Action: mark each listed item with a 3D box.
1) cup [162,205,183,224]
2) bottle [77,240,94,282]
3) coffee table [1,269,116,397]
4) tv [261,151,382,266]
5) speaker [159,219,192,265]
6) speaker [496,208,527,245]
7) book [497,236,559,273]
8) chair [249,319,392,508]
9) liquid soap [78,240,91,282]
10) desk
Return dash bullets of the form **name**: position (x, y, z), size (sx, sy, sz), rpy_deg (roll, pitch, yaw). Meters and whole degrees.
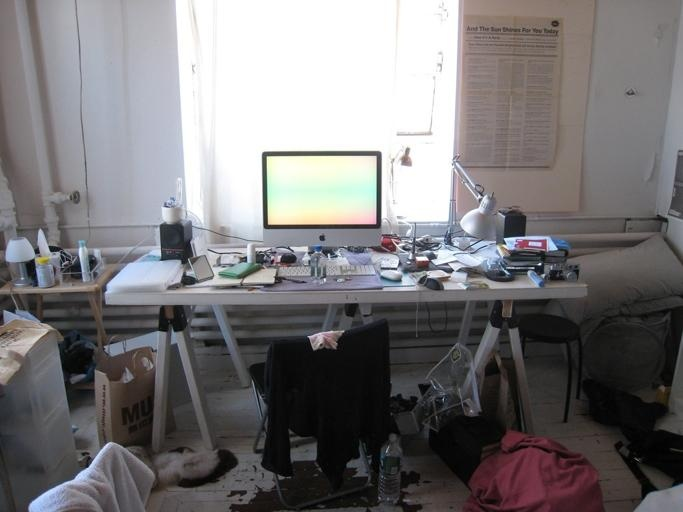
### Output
- **cup**: position (-1.037, -0.252, 3.196), size (0.105, 0.086, 0.108), rpy_deg (1, 10, 0)
- **bottle**: position (-1.704, 0.032, 3.432), size (0.061, 0.278, 0.072), rpy_deg (-5, 6, -5)
- **coffee table**: position (-1.949, 0.514, 3.608), size (0.741, 0.717, 0.559), rpy_deg (0, 17, -3)
- **tv**: position (-0.123, -0.319, 3.195), size (0.669, 0.561, 0.223), rpy_deg (0, 7, -1)
- **speaker**: position (-1.014, -0.090, 3.171), size (0.153, 0.292, 0.292), rpy_deg (0, 7, -3)
- **speaker**: position (1.107, -0.189, 3.396), size (0.135, 0.264, 0.139), rpy_deg (-5, 27, 0)
- **book**: position (1.104, -0.021, 3.097), size (0.231, 0.084, 0.244), rpy_deg (-2, 15, -2)
- **chair**: position (-0.052, 0.678, 2.683), size (0.752, 1.060, 0.719), rpy_deg (-3, 36, -7)
- **liquid soap**: position (-1.721, 0.015, 3.467), size (0.066, 0.278, 0.191), rpy_deg (-10, 17, -25)
- **desk**: position (-0.137, 0.428, 3.062), size (2.254, 0.825, 0.703), rpy_deg (-12, 4, 19)
